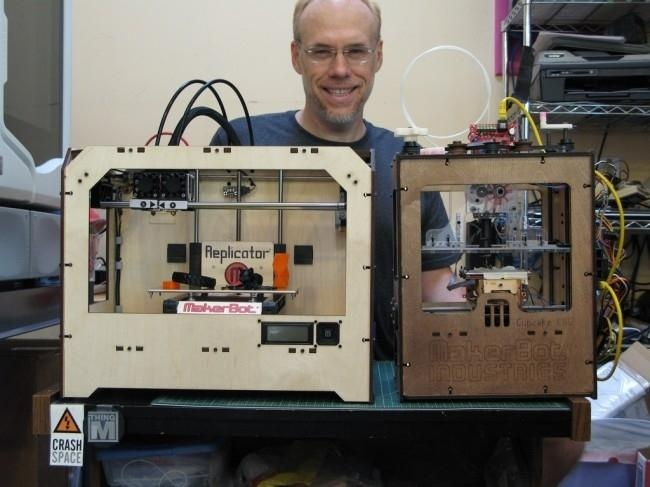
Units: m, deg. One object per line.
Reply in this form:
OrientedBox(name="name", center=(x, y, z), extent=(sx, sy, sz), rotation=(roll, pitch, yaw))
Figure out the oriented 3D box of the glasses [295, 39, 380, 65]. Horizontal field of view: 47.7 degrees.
OrientedBox(name="glasses", center=(0.054, -0.771, 3.023), extent=(0.280, 0.078, 0.050), rotation=(-1, 1, 0))
